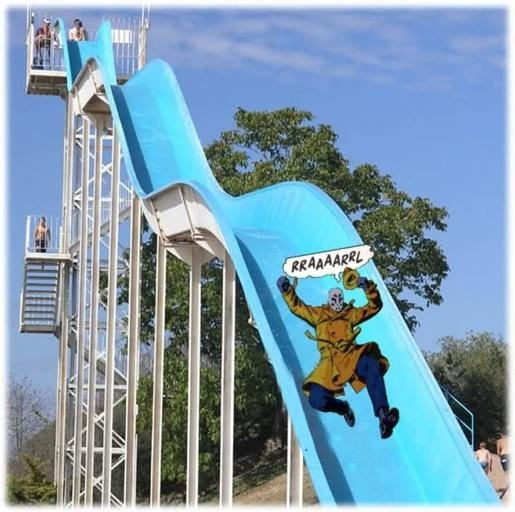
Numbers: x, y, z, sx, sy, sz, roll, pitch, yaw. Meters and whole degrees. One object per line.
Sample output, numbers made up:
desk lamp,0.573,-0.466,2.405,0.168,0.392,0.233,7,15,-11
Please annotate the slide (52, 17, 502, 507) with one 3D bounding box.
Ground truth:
slide,0.064,-0.202,17.189,2.644,8.092,6.773,2,-12,-31

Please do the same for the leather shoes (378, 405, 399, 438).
leather shoes,1.689,2.193,15.214,0.156,0.493,0.192,13,8,6
